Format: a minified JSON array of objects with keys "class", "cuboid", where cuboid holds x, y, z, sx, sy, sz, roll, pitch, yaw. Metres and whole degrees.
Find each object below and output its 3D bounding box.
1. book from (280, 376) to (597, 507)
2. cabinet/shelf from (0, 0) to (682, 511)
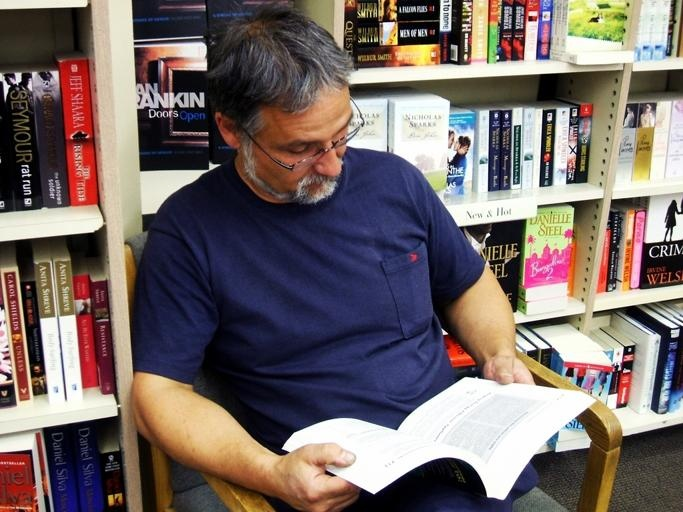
[{"class":"book","cuboid":[0.219,0.350,1.144,0.573,0.106,0.392,-17,17,-40]},{"class":"cabinet/shelf","cuboid":[-0.001,-0.198,1.734,1.042,1.464,1.119,-14,26,-29]}]
